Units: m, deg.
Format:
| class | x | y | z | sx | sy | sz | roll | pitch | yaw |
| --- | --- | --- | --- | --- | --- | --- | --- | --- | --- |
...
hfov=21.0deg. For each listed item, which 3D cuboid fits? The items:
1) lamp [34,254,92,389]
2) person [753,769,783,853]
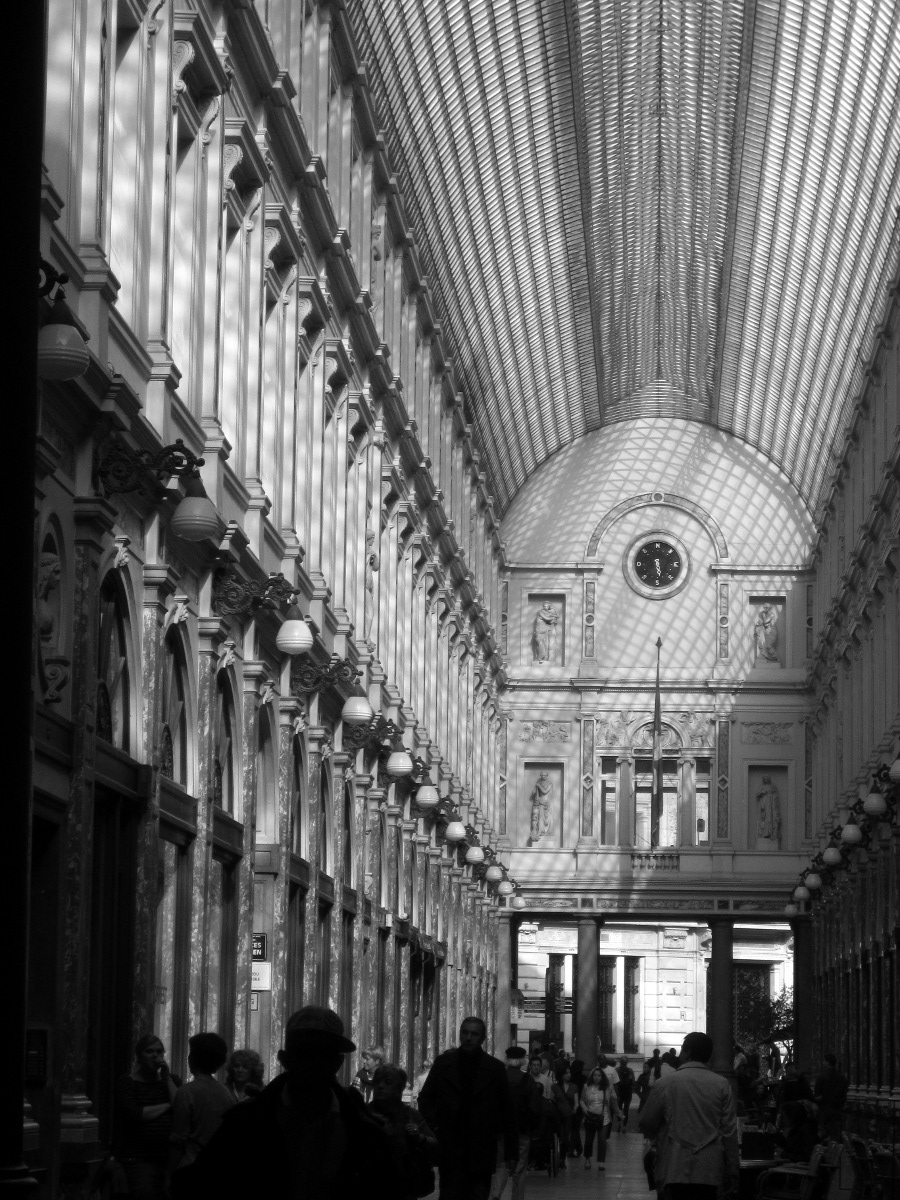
| class | x | y | z | sx | sy | sz | roll | pitch | yaw |
| --- | --- | --- | --- | --- | --- | --- | --- | --- | --- |
| lamp | -1.784 | -1.244 | 10.609 | 0.219 | 0.634 | 0.251 | -11 | -21 | 18 |
| person | 7.146 | 4.619 | 54.389 | 0.552 | 2.029 | 0.241 | -1 | -41 | 9 |
